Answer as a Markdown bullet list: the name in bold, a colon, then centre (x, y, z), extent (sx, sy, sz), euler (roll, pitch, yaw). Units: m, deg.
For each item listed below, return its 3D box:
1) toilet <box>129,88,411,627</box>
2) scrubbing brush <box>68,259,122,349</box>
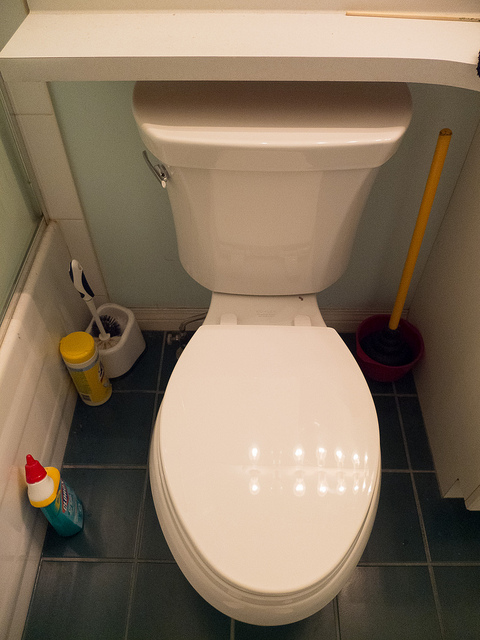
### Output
- **toilet**: centre (0.086, 0.107, 0.881), extent (0.277, 0.666, 0.711), euler (0, 61, 5)
- **scrubbing brush**: centre (-0.331, -0.029, 1.138), extent (0.067, 0.208, 0.094), euler (-6, 48, -10)
